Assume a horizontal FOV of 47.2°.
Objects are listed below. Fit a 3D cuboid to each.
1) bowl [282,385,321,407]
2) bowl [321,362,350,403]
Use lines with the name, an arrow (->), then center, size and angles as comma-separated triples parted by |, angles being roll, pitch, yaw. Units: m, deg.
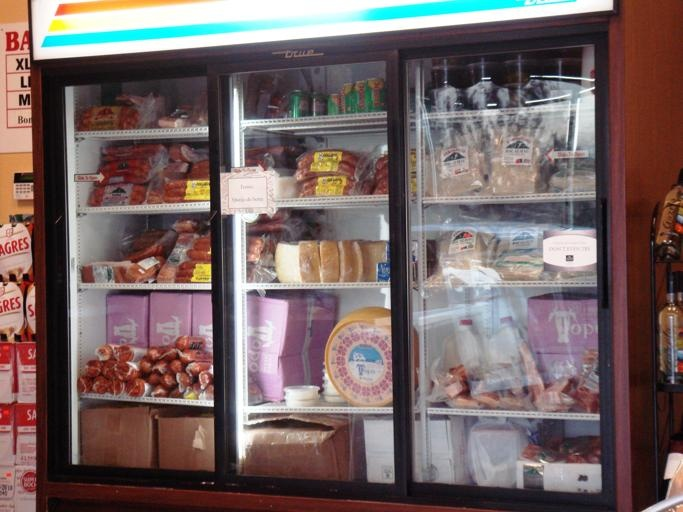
bowl -> -0.204, 0.703, 3.955 | 0.105, 0.047, 0.123 | -2, -1, 36
bowl -> -0.056, 0.642, 3.961 | 0.151, 0.145, 0.149 | 0, 3, 0
